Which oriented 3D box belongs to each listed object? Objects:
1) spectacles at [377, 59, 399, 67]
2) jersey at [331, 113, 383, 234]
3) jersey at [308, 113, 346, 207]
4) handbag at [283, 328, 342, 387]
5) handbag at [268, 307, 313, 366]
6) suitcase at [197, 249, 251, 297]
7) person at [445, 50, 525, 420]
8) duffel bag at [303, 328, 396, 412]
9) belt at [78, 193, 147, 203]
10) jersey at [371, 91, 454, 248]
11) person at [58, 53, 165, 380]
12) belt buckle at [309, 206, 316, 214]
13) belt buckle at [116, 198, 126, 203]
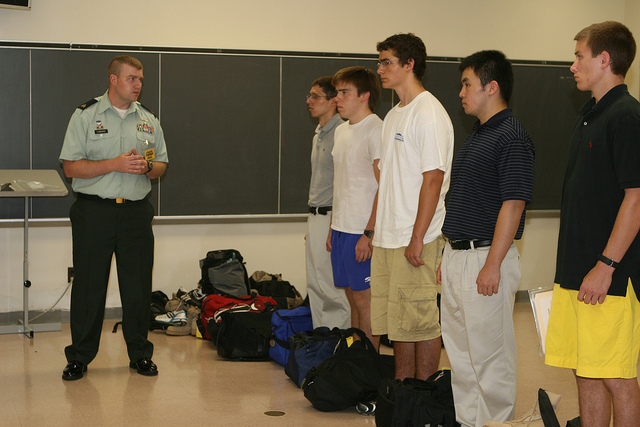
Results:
[{"bbox_3d":[0.484,-1.053,4.068,0.150,0.049,0.032,7,9,35],"label":"spectacles"},{"bbox_3d":[0.268,-0.299,4.548,0.417,0.951,0.388,-11,32,-16],"label":"jersey"},{"bbox_3d":[0.053,-0.418,5.095,0.256,0.744,0.509,0,12,-30],"label":"jersey"},{"bbox_3d":[-0.070,1.083,4.585,0.434,0.434,0.440,1,0,-3],"label":"handbag"},{"bbox_3d":[-0.269,1.060,4.991,0.452,0.447,0.343,3,-3,-36],"label":"handbag"},{"bbox_3d":[-0.984,0.739,6.094,0.508,0.678,0.372,-6,-33,-9],"label":"suitcase"},{"bbox_3d":[1.028,0.170,3.659,0.467,2.345,0.326,3,7,12],"label":"person"},{"bbox_3d":[0.222,1.152,4.281,0.654,0.562,0.295,1,7,-2],"label":"duffel bag"},{"bbox_3d":[-1.669,-0.125,4.671,0.522,0.079,0.128,-2,8,-22],"label":"belt"},{"bbox_3d":[0.641,-0.297,4.019,0.486,1.075,0.270,4,8,24],"label":"jersey"},{"bbox_3d":[-1.682,0.024,4.685,0.832,2.557,0.450,-1,7,-15],"label":"person"},{"bbox_3d":[-0.060,-0.032,5.015,0.045,0.036,0.048,1,-2,9],"label":"belt buckle"},{"bbox_3d":[-1.593,-0.102,4.639,0.054,0.030,0.037,2,-6,-27],"label":"belt buckle"}]
